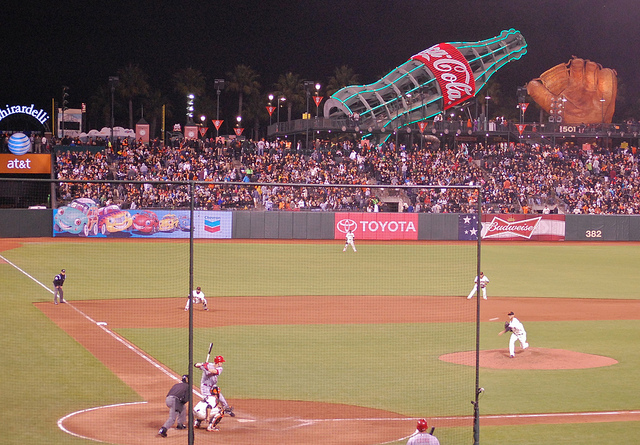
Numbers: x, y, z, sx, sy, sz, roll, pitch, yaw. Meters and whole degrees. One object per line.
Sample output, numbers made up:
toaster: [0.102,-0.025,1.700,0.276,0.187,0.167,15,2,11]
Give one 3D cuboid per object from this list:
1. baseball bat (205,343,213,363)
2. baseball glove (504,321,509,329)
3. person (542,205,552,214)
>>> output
baseball bat: [-6.446,7.751,78.036,0.176,1.344,0.150,24,6,39]
baseball glove: [11.280,6.091,79.951,0.126,0.443,0.191,-7,-28,37]
person: [19.371,-1.075,113.104,0.647,0.754,1.050,-1,1,16]
